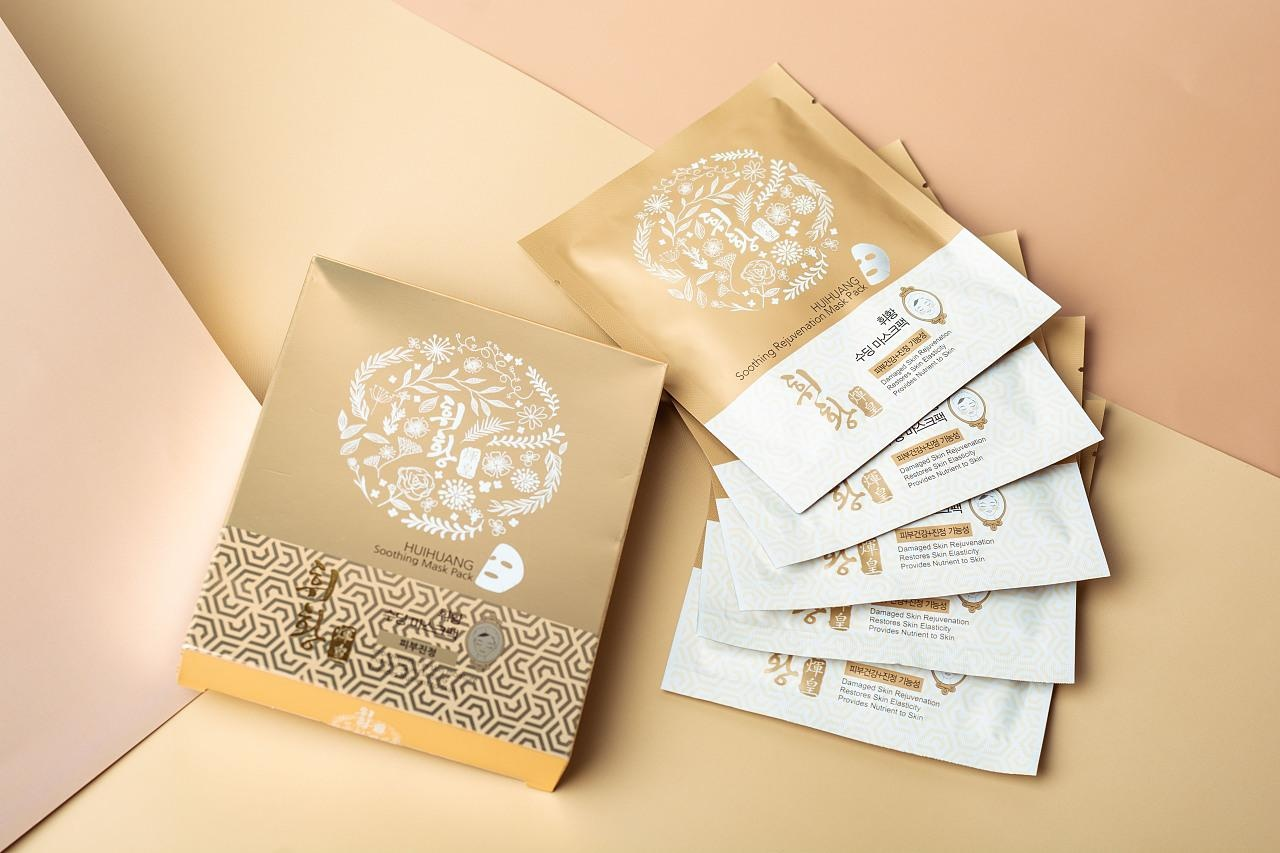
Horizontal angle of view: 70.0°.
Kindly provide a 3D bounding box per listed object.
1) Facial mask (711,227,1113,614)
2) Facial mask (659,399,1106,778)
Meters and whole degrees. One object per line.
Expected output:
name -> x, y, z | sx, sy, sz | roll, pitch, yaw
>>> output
Facial mask -> 0.311, 0.006, 1.125 | 0.450, 0.397, 0.051 | -12, -13, 4
Facial mask -> 0.300, 0.207, 1.119 | 0.405, 0.382, 0.043 | 17, -8, 11
